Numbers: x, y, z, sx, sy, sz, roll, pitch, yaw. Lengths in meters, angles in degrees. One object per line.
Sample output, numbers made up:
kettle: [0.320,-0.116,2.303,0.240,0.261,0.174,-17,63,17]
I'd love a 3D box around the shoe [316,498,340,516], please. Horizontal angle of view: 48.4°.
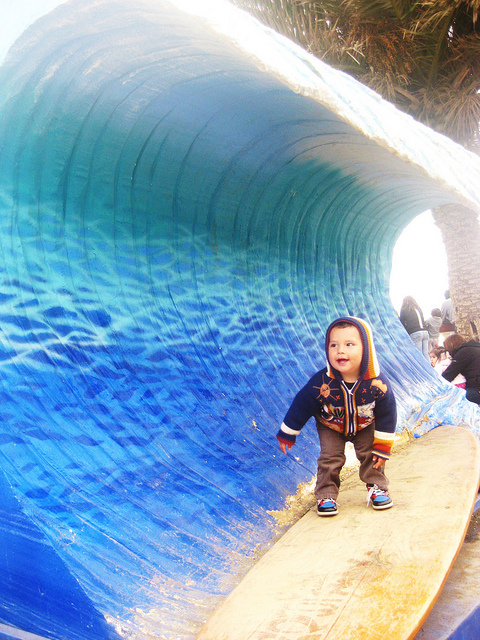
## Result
shoe: [0.399,0.869,2.500,0.102,0.078,0.081,-20,-6,20]

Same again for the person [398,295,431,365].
person: [2.479,0.108,7.511,0.297,1.001,0.457,-23,-6,15]
